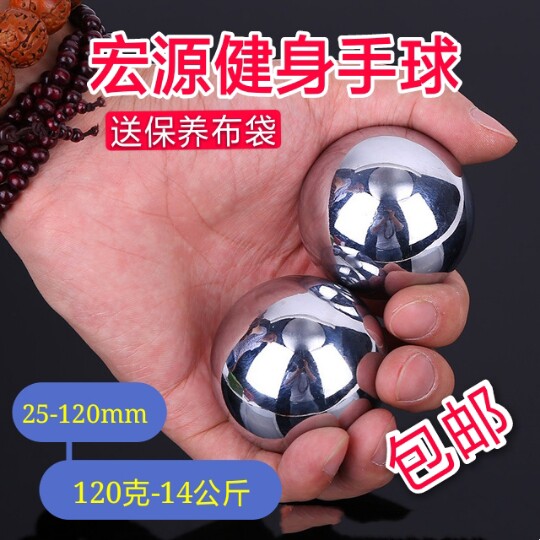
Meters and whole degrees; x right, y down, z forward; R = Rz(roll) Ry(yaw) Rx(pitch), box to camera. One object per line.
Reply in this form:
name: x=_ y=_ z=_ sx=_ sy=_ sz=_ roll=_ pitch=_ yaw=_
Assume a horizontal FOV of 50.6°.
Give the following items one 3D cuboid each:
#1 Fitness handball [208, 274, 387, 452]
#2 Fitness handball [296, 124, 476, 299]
Fitness handball: x=0.045 y=0.136 z=0.743 sx=0.231 sy=0.234 sz=0.212 roll=-5 pitch=35 yaw=-1
Fitness handball: x=0.135 y=-0.074 z=0.765 sx=0.224 sy=0.208 sz=0.223 roll=-1 pitch=93 yaw=1
